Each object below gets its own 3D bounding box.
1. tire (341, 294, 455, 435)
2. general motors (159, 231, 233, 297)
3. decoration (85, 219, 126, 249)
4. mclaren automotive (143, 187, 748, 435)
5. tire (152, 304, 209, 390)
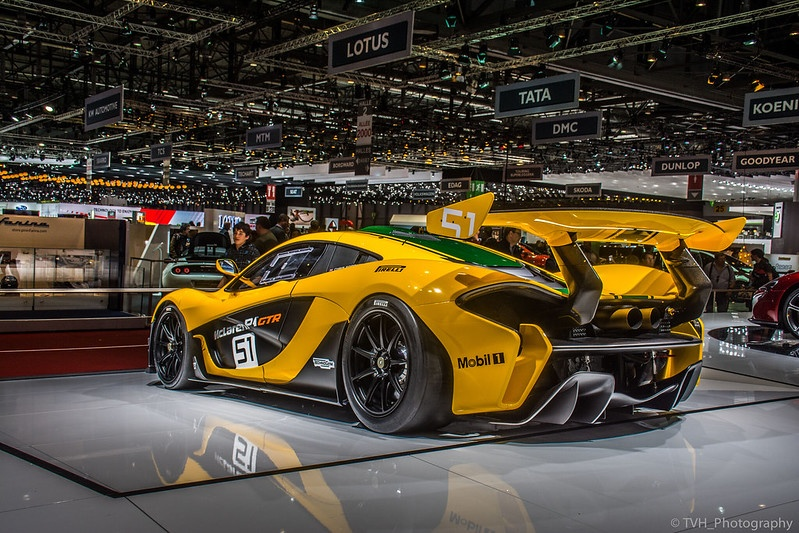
[{"bbox_3d":[0.009,0.818,4.472,0.499,1.087,1.246,7,-13,-34],"label":"tire"},{"bbox_3d":[-4.367,-0.061,11.584,1.482,0.857,2.859,1,7,-10],"label":"general motors"},{"bbox_3d":[-6.607,-0.675,11.912,0.897,0.667,0.352,1,4,-17],"label":"decoration"},{"bbox_3d":[0.306,0.381,4.838,4.903,1.973,1.748,3,3,22],"label":"mclaren automotive"},{"bbox_3d":[-2.327,0.887,5.699,0.299,0.777,0.741,-4,-25,-42],"label":"tire"}]
